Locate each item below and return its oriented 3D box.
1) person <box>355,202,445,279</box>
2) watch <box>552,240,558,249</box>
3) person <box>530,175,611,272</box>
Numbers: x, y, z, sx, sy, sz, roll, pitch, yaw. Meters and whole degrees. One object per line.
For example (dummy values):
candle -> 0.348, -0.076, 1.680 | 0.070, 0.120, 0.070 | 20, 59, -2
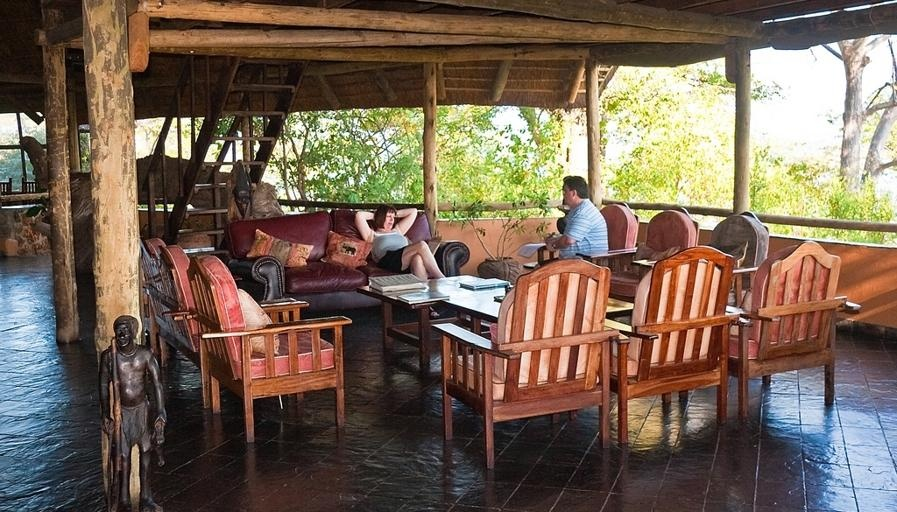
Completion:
person -> -0.715, -0.165, 9.586 | 1.129, 1.110, 0.692 | -33, -32, 32
watch -> 1.357, -0.120, 8.463 | 0.068, 0.061, 0.079 | 1, 3, -23
person -> 1.664, -0.325, 8.830 | 0.959, 1.266, 1.052 | 1, 10, 15
